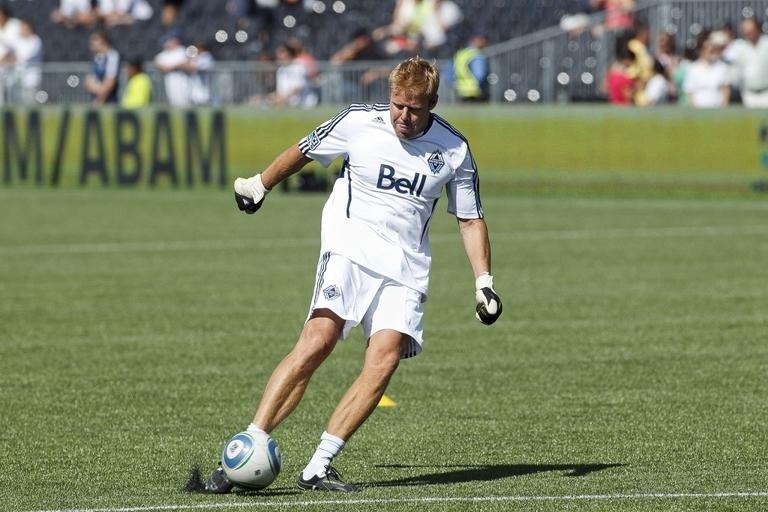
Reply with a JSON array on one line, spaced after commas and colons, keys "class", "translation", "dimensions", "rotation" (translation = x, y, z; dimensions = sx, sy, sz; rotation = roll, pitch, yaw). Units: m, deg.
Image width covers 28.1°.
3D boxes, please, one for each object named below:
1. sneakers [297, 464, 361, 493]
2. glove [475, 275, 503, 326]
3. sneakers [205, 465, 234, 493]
[{"class": "sneakers", "translation": [-0.481, 1.941, 13.362], "dimensions": [0.554, 0.249, 0.216], "rotation": [2, 1, 0]}, {"class": "glove", "translation": [0.872, 0.382, 13.582], "dimensions": [0.174, 0.415, 0.267], "rotation": [-12, -28, 12]}, {"class": "sneakers", "translation": [-1.429, 1.951, 13.341], "dimensions": [0.193, 0.221, 0.246], "rotation": [-1, -2, 4]}]
